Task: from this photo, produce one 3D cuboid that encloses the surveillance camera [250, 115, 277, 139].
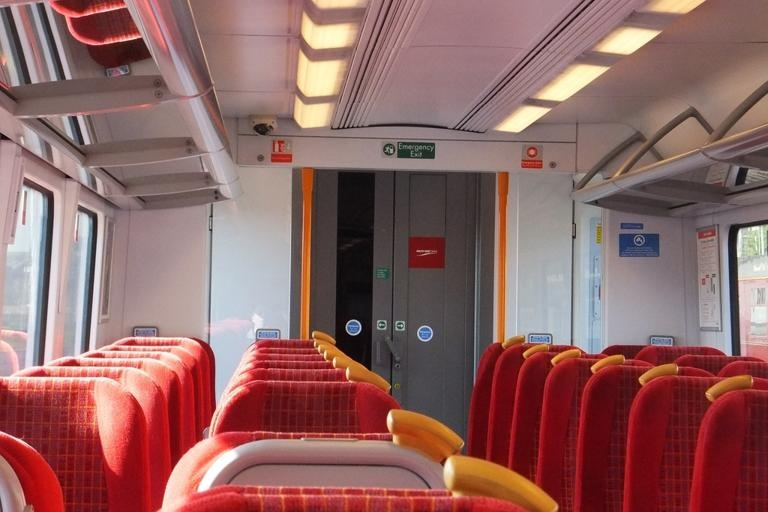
[{"bbox_3d":[-1.250,-1.365,5.818,0.249,0.166,0.180,1,-5,-1],"label":"surveillance camera"}]
